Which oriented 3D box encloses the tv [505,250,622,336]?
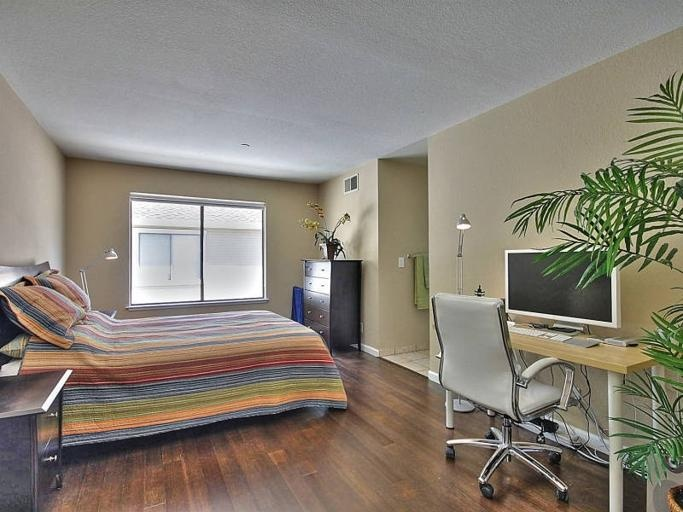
[{"bbox_3d":[1.655,0.219,3.483,0.090,0.570,0.860,-6,4,-36],"label":"tv"}]

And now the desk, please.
[{"bbox_3d":[1.621,1.041,3.003,0.355,0.738,1.243,-1,0,-13],"label":"desk"}]

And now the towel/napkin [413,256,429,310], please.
[{"bbox_3d":[1.020,0.315,5.849,0.195,0.686,0.199,0,11,5],"label":"towel/napkin"}]

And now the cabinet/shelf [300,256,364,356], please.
[{"bbox_3d":[-0.162,0.624,6.192,0.480,1.223,0.923,0,2,-28],"label":"cabinet/shelf"}]

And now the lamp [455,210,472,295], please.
[{"bbox_3d":[1.133,-0.020,4.268,0.139,0.795,0.519,2,11,15],"label":"lamp"}]

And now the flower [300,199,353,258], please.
[{"bbox_3d":[-0.072,-0.408,6.671,0.833,1.020,0.829,3,-4,-30],"label":"flower"}]

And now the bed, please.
[{"bbox_3d":[-1.378,0.690,3.814,1.981,1.008,1.472,-1,2,-28],"label":"bed"}]

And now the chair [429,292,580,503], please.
[{"bbox_3d":[1.004,0.859,3.758,1.159,1.823,1.295,0,0,-31],"label":"chair"}]
